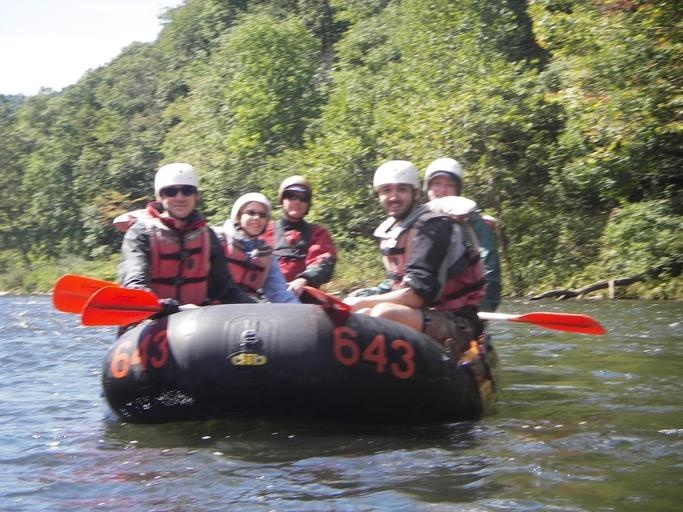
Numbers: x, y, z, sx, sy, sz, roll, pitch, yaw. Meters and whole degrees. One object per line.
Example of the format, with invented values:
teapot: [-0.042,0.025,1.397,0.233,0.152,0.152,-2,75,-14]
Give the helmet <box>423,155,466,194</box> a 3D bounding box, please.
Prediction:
helmet: [1.115,-0.919,9.111,0.616,0.320,0.423,3,-40,4]

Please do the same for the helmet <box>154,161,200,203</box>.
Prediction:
helmet: [-1.619,-0.728,8.002,0.452,0.276,0.439,0,-29,-17]

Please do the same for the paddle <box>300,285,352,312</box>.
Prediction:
paddle: [-0.137,0.369,6.833,0.446,0.071,0.257,16,-7,-11]

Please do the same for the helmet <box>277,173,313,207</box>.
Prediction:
helmet: [-0.581,-0.881,10.196,0.542,0.249,0.422,3,6,-7]

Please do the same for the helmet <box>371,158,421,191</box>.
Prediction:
helmet: [0.538,-0.779,7.728,0.402,0.174,0.396,1,11,15]
